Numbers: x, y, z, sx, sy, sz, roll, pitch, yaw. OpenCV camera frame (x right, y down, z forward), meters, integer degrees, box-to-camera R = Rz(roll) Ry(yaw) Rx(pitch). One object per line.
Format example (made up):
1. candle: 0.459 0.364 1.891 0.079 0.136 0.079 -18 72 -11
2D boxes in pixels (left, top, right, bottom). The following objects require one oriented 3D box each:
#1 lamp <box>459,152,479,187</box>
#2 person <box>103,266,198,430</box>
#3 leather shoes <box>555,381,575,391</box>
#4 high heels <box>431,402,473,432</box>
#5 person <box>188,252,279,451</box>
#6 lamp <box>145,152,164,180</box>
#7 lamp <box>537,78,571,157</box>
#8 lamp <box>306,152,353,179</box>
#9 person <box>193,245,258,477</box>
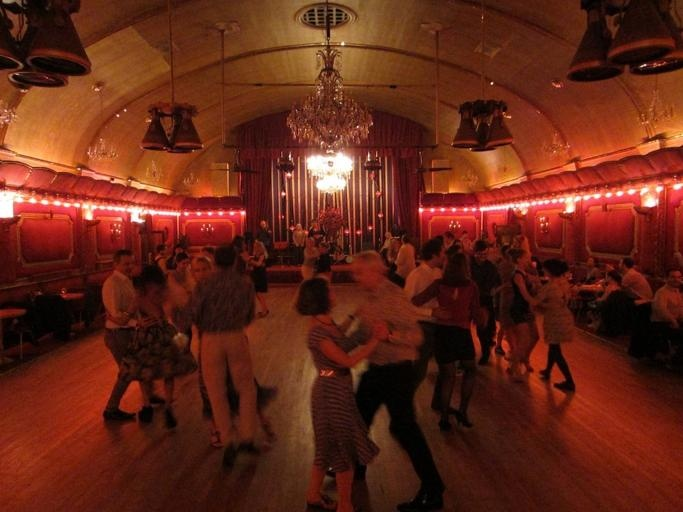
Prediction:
1. lamp: 5.082 -3.263 19.149 0.670 1.281 0.552 -1 0 13
2. person: -2.298 1.070 5.845 1.000 1.868 0.499 -1 0 25
3. leather shoes: 3.075 1.770 6.703 0.276 0.128 0.109 6 8 27
4. high heels: 1.322 1.890 5.761 0.488 0.226 0.190 -2 7 -17
5. person: -1.210 0.921 5.154 0.643 2.273 0.664 -9 20 -30
6. lamp: -6.342 -2.913 16.298 0.526 0.767 0.575 5 1 -6
7. lamp: 5.364 -3.221 12.058 0.624 1.848 2.109 -1 0 23
8. lamp: -0.379 -2.742 14.618 1.088 0.640 1.196 0 7 -4
9. person: -1.187 1.039 4.960 0.617 2.188 0.469 -1 0 -12
